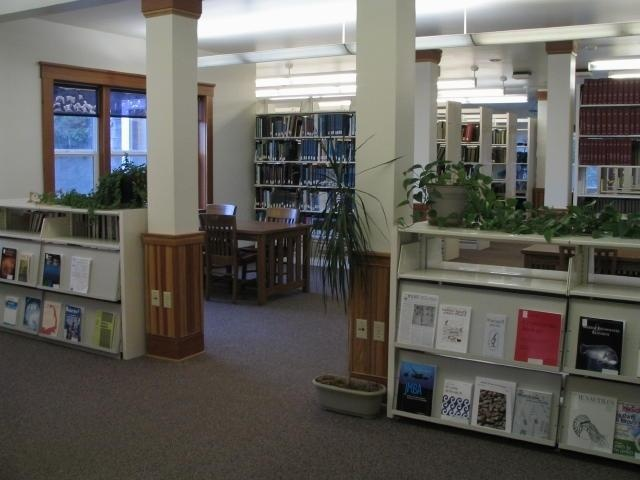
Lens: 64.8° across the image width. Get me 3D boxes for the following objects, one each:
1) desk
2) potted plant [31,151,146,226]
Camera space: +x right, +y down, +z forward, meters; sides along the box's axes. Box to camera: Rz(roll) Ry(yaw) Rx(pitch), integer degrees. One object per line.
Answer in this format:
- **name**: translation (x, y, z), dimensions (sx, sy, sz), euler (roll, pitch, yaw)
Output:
- **desk**: translation (-0.704, 0.222, 7.197), dimensions (1.061, 0.936, 1.021), euler (5, 11, 37)
- **potted plant**: translation (-2.196, -0.500, 5.060), dimensions (1.139, 0.617, 0.382), euler (5, 9, 27)
